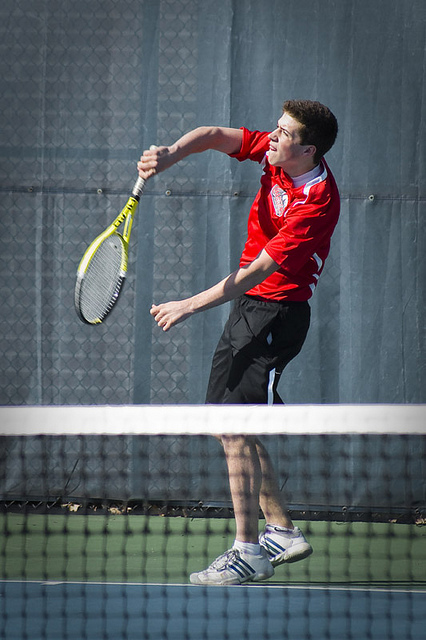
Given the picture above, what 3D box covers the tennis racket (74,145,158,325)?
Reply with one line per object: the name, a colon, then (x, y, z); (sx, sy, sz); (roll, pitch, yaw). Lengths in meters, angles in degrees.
tennis racket: (-0.399, -0.262, 3.296); (0.245, 0.570, 0.454); (2, 44, -4)
